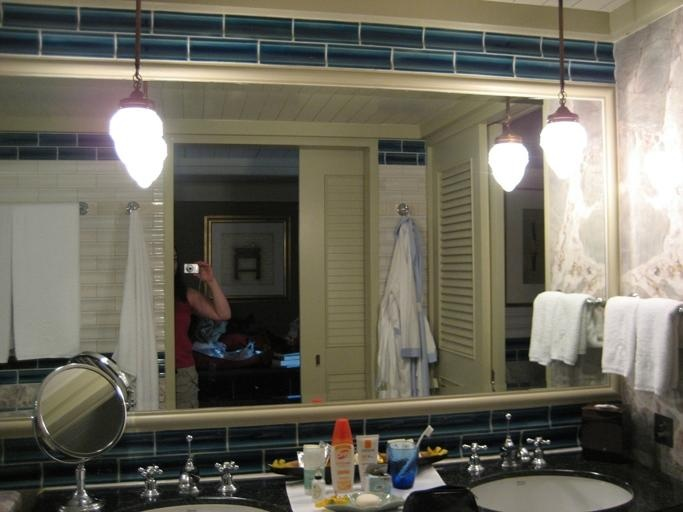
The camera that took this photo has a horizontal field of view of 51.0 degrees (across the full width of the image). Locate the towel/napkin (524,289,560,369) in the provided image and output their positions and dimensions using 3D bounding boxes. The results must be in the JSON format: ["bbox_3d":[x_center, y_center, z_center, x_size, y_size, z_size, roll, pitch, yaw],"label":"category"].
[{"bbox_3d":[0.810,0.275,2.862,0.179,0.250,0.073,3,-7,36],"label":"towel/napkin"}]

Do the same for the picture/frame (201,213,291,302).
[{"bbox_3d":[-0.368,0.009,2.647,0.310,0.326,0.012,-1,4,-7],"label":"picture/frame"}]

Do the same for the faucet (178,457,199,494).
[{"bbox_3d":[-0.544,0.780,2.569,0.089,0.110,0.097,0,2,-13],"label":"faucet"}]

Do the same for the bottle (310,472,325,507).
[{"bbox_3d":[-0.079,0.805,2.480,0.043,0.098,0.036,-2,1,-12],"label":"bottle"}]

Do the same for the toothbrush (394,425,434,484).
[{"bbox_3d":[0.263,0.735,2.638,0.036,0.027,0.245,-30,24,46],"label":"toothbrush"}]

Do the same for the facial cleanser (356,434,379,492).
[{"bbox_3d":[0.098,0.731,2.608,0.085,0.193,0.048,-4,27,-7],"label":"facial cleanser"}]

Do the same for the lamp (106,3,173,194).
[{"bbox_3d":[-0.732,-0.586,2.541,0.208,0.679,0.216,-2,1,-14],"label":"lamp"}]

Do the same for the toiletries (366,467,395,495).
[{"bbox_3d":[0.133,0.792,2.521,0.076,0.109,0.077,1,-8,-9],"label":"toiletries"}]

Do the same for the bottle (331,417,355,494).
[{"bbox_3d":[0.004,0.710,2.541,0.081,0.242,0.098,-2,1,-1],"label":"bottle"}]

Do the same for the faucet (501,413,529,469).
[{"bbox_3d":[0.672,0.706,2.760,0.119,0.198,0.067,0,13,13],"label":"faucet"}]

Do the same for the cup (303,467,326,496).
[{"bbox_3d":[-0.104,0.793,2.531,0.080,0.142,0.082,1,-4,0],"label":"cup"}]

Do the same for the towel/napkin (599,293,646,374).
[{"bbox_3d":[1.094,0.314,2.781,0.080,0.263,0.192,13,-7,-42],"label":"towel/napkin"}]

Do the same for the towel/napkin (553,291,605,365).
[{"bbox_3d":[0.949,0.295,2.880,0.253,0.269,0.096,5,-7,13],"label":"towel/napkin"}]
